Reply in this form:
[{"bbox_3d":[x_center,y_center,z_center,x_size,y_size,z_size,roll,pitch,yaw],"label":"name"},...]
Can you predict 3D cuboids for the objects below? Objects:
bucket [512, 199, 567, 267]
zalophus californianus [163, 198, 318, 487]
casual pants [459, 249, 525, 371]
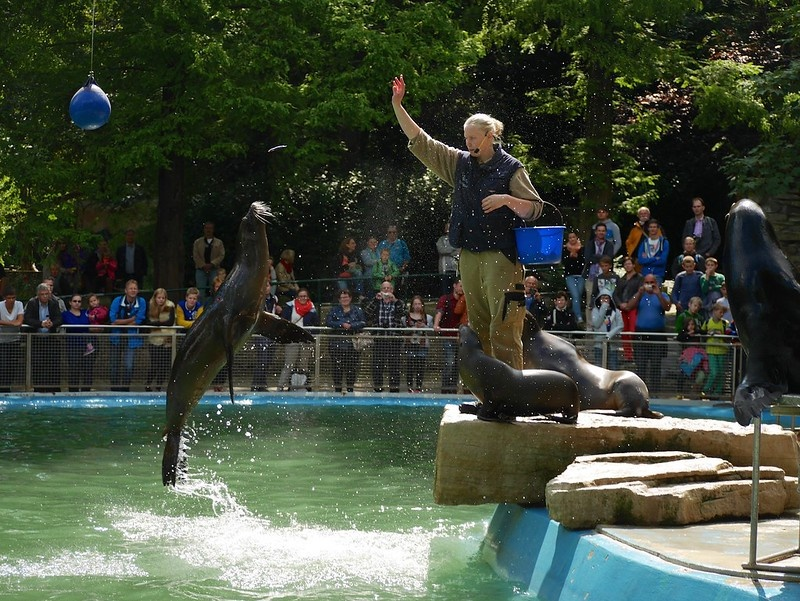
[{"bbox_3d":[1.651,-0.785,16.300,0.605,0.747,0.559,1,24,0],"label":"bucket"},{"bbox_3d":[-2.157,0.598,16.585,0.980,3.092,2.089,24,4,-15],"label":"zalophus californianus"},{"bbox_3d":[1.035,0.032,16.580,0.557,1.449,0.383,8,23,32],"label":"casual pants"}]
